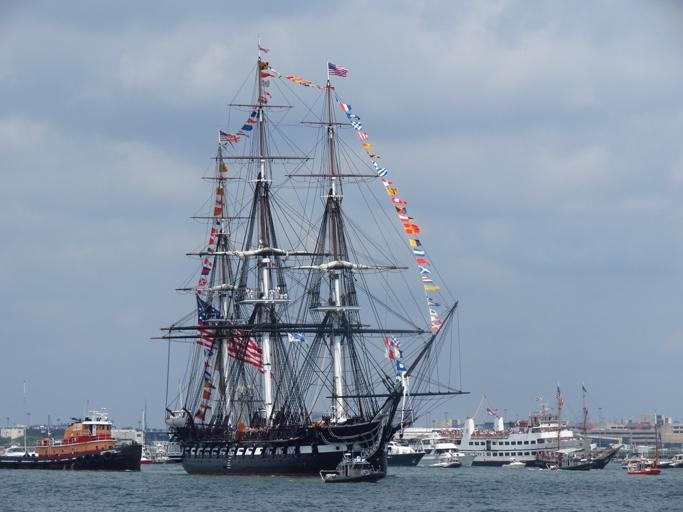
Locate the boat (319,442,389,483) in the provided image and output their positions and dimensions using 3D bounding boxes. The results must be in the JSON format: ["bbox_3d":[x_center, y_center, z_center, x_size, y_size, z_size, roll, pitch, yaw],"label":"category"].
[{"bbox_3d":[2.111,31.783,269.338,9.828,5.281,6.506,1,-7,-7],"label":"boat"}]
